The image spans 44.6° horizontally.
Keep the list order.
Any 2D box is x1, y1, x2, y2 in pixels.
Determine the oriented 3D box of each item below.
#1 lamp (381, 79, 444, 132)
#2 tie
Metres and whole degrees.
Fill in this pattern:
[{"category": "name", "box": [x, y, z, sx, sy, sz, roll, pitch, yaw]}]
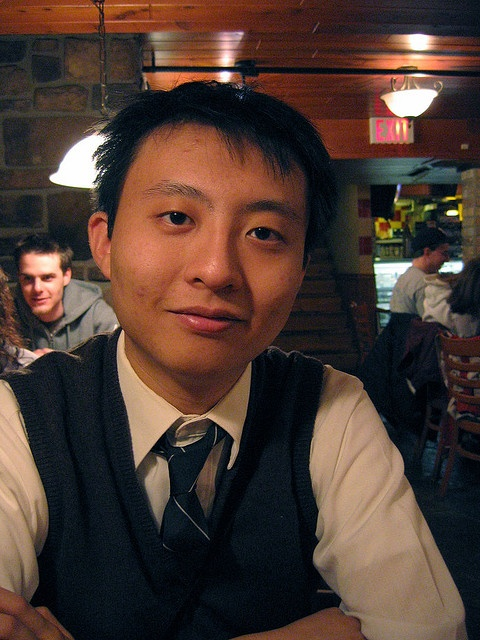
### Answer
[{"category": "lamp", "box": [1.413, -1.765, 4.670, 0.478, 0.447, 0.469, 0, 1, -2]}, {"category": "tie", "box": [-0.076, 0.286, 0.949, 0.152, 0.196, 0.061, 3, -2, 26]}]
